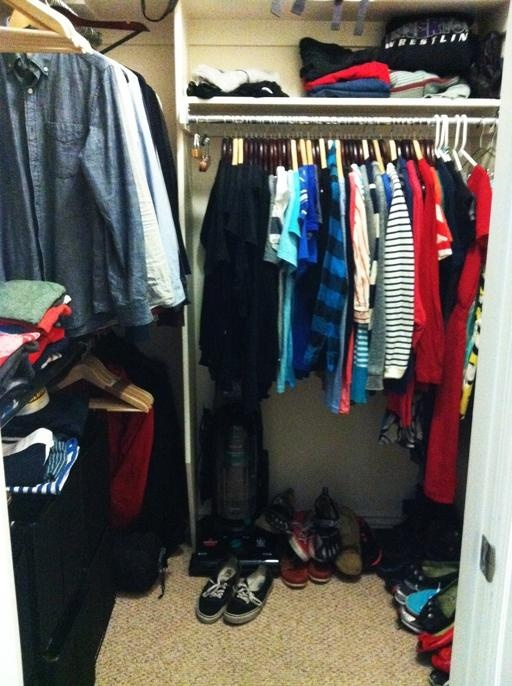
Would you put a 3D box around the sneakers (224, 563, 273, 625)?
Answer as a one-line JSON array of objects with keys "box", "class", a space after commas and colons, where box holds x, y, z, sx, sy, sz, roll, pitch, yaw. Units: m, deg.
[{"box": [-0.027, 0.808, 1.888, 0.100, 0.084, 0.265, 8, 9, 19], "class": "sneakers"}]

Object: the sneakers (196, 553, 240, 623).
[{"box": [-0.127, 0.798, 1.901, 0.083, 0.086, 0.260, 7, 13, 14], "class": "sneakers"}]

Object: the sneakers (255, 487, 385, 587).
[{"box": [0.222, 0.699, 2.123, 0.266, 0.124, 0.372, -3, 5, 3], "class": "sneakers"}]
